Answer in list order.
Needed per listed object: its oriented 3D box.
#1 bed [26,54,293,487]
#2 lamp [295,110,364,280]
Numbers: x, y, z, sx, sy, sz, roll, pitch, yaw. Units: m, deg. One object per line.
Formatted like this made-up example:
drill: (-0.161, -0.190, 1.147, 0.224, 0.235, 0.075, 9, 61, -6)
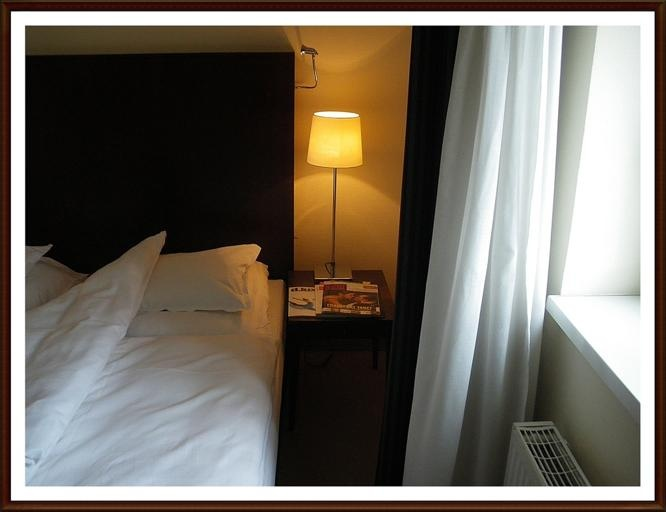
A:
bed: (-0.872, -0.009, 2.439, 1.161, 2.020, 1.298, 1, -25, 1)
lamp: (0.014, -0.339, 2.829, 0.287, 0.912, 0.408, 2, 8, 3)
